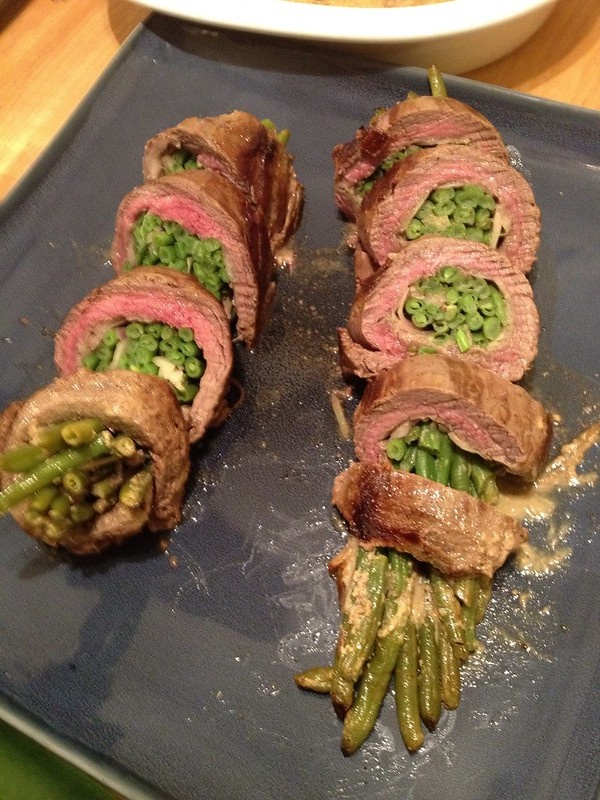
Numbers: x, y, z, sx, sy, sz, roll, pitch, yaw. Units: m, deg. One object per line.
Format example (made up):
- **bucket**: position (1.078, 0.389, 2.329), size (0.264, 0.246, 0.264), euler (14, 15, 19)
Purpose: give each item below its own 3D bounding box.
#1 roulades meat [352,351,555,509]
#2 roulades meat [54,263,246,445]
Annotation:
- **roulades meat**: position (0.462, 0.095, 2.520), size (0.841, 0.194, 0.502), euler (-5, 105, -33)
- **roulades meat**: position (-0.552, -0.171, 2.818), size (0.789, 0.691, 0.184), euler (-5, 43, -22)
